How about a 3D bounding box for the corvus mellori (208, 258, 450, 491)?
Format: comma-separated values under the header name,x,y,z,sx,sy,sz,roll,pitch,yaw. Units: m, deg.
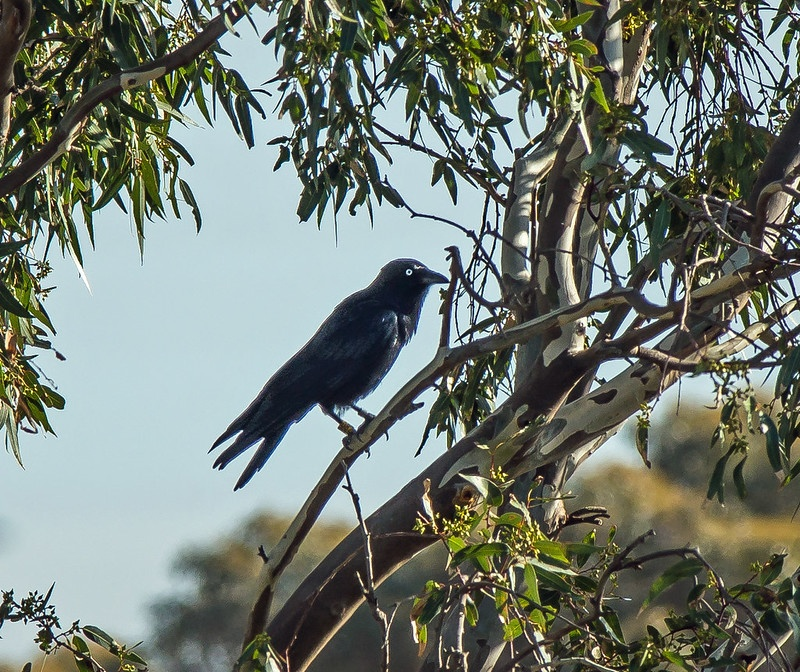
name,x,y,z,sx,sy,sz,roll,pitch,yaw
corvus mellori,-0.309,0.127,7.896,0.795,0.401,0.911,1,-87,-5
